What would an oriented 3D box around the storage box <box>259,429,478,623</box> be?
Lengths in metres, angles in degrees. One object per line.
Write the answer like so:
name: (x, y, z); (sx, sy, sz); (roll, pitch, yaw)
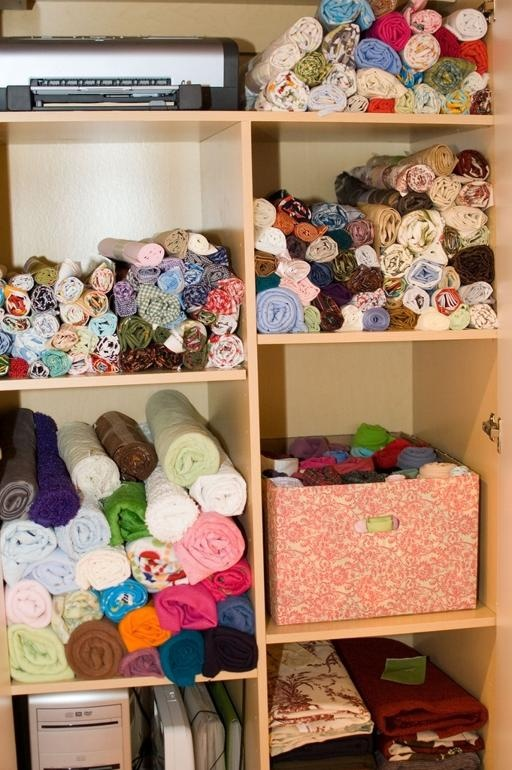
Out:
storage box: (0.211, 0.261, 1.329); (0.336, 0.208, 0.345); (-2, 4, -4)
